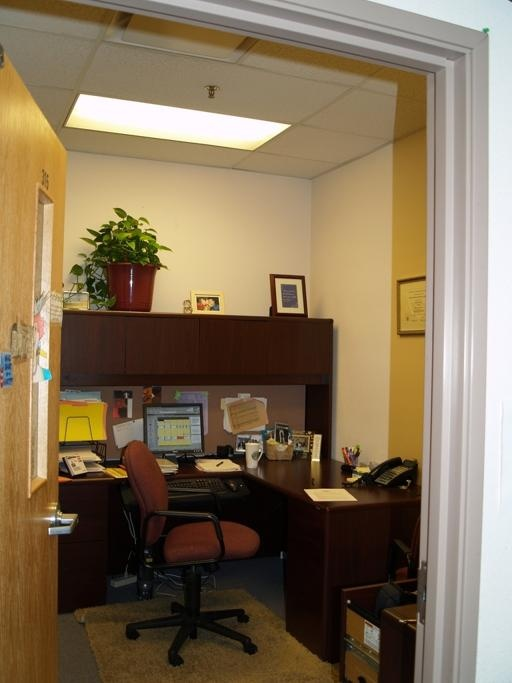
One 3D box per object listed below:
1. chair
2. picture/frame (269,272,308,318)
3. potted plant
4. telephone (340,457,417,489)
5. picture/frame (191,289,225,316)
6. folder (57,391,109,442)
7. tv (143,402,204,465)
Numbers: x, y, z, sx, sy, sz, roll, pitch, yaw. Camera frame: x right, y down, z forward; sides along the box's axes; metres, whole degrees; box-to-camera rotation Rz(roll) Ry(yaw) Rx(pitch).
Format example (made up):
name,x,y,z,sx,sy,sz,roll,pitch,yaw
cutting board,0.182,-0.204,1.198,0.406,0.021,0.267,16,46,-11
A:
name,x,y,z,sx,sy,sz,roll,pitch,yaw
chair,-0.351,1.000,3.138,0.878,1.292,0.898,0,-2,-4
picture/frame,0.222,-0.321,3.956,0.339,0.376,0.026,4,-23,-21
potted plant,-0.863,-0.529,3.479,0.561,0.704,0.450,3,-3,-19
telephone,0.719,0.723,3.024,0.257,0.127,0.190,1,5,-19
picture/frame,-0.338,-0.262,3.783,0.203,0.149,0.016,5,-27,-25
folder,-1.092,0.459,3.479,0.299,0.224,0.301,4,-8,-40
tv,-0.550,0.601,3.610,0.369,0.335,0.062,2,-15,-19
